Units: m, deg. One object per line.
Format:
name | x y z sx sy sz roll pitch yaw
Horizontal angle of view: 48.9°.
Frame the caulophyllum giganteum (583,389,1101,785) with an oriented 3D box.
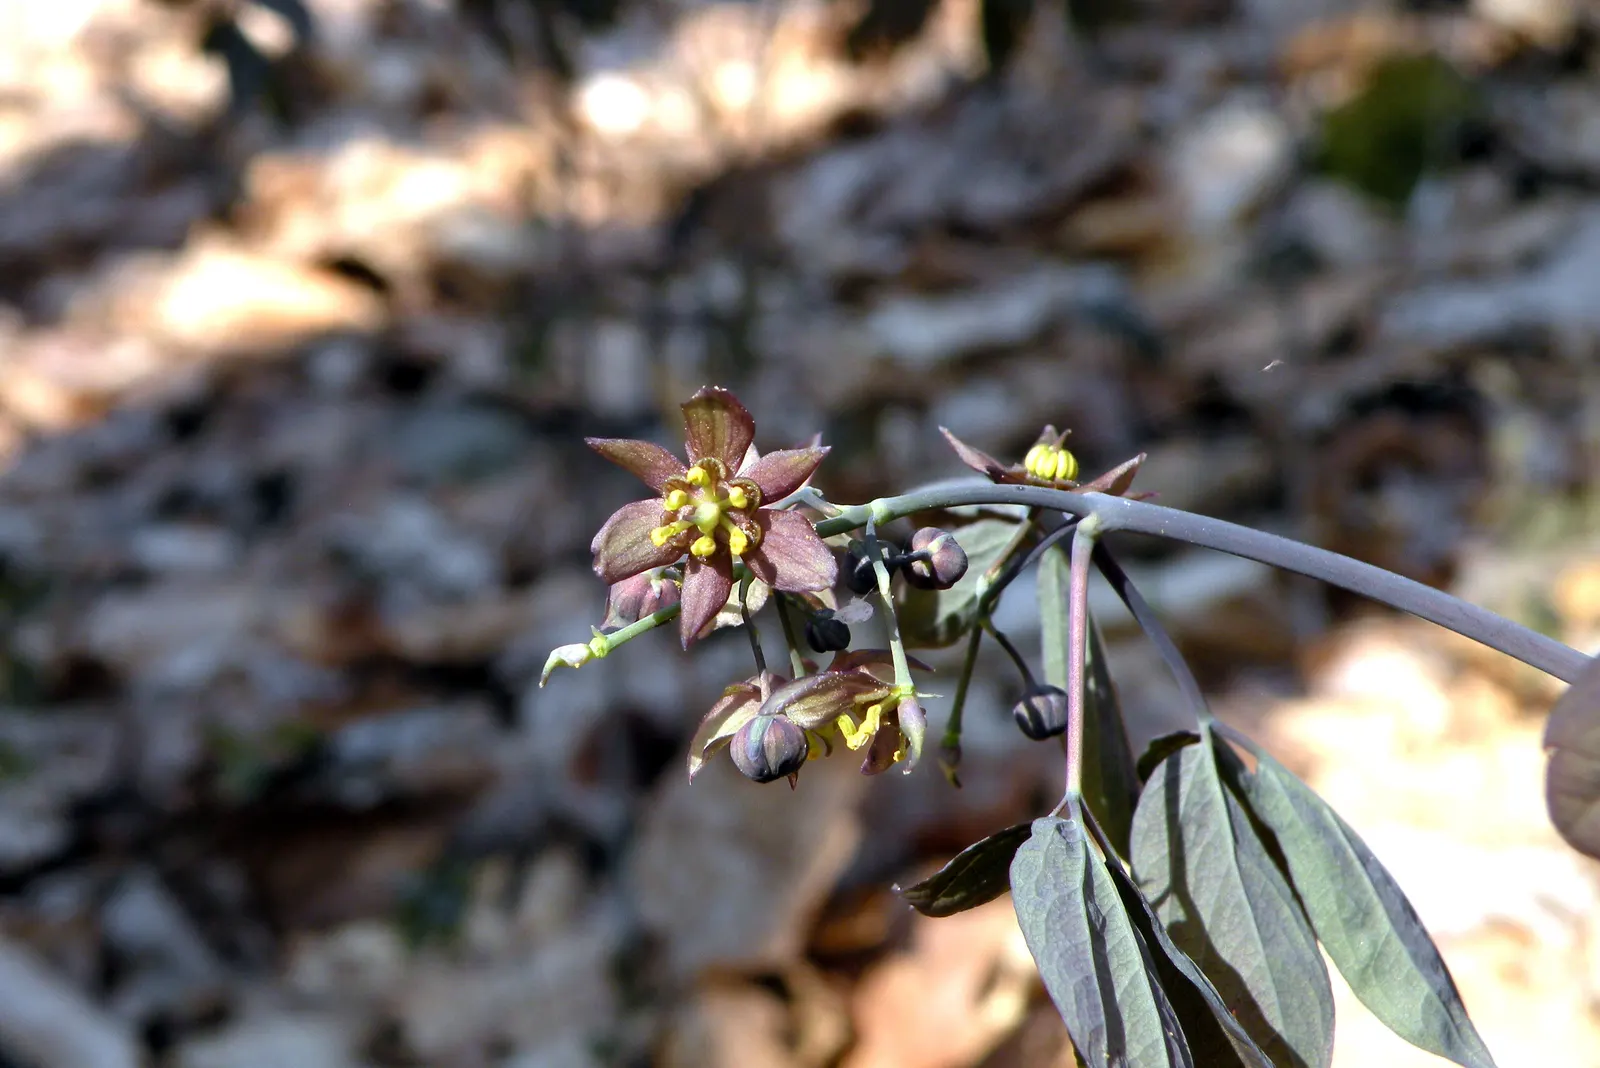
caulophyllum giganteum | 0.174 0.153 5.707 1.632 0.878 1.106 -18 20 -26
